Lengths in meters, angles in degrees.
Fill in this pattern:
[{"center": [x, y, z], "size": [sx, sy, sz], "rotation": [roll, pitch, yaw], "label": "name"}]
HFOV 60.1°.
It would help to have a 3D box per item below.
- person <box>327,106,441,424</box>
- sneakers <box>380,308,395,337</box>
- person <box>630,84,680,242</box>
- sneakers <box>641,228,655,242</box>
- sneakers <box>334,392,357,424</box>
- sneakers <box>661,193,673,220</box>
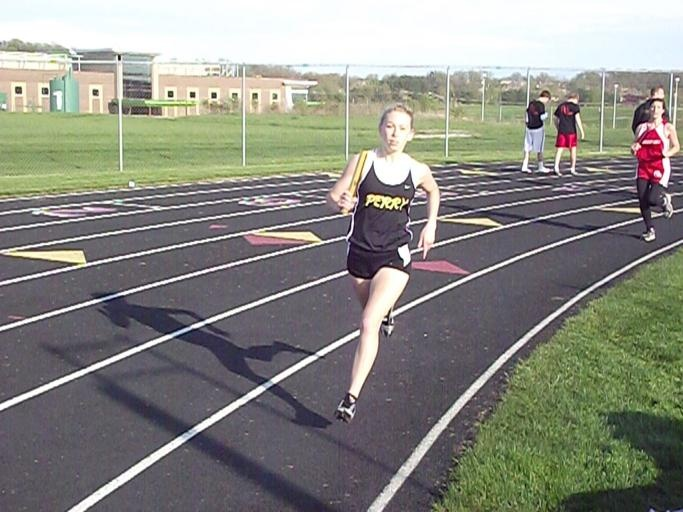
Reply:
[{"center": [0.251, 0.029, 4.664], "size": [0.865, 2.381, 0.604], "rotation": [-6, 12, -33], "label": "person"}, {"center": [0.416, 0.631, 5.436], "size": [0.093, 0.404, 0.149], "rotation": [-1, 7, 11], "label": "sneakers"}, {"center": [5.177, -1.365, 9.854], "size": [0.633, 2.439, 0.906], "rotation": [7, 12, 32], "label": "person"}, {"center": [5.391, -0.343, 10.382], "size": [0.130, 0.194, 0.359], "rotation": [-3, 3, 31], "label": "sneakers"}, {"center": [0.024, 1.142, 4.414], "size": [0.147, 0.233, 0.087], "rotation": [25, -3, -18], "label": "sneakers"}, {"center": [6.226, -0.919, 11.331], "size": [0.171, 0.563, 0.175], "rotation": [-10, 5, -7], "label": "sneakers"}]
